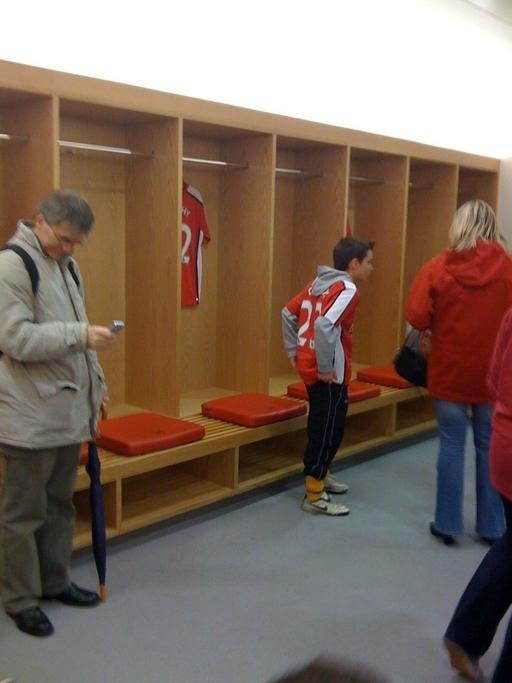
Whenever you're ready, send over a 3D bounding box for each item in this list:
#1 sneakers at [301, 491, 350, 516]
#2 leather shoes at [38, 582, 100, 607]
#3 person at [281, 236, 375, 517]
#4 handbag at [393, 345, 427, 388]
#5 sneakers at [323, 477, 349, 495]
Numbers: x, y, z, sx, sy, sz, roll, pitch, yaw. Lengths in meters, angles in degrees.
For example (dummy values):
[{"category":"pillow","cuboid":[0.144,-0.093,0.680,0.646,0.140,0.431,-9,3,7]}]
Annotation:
[{"category":"sneakers","cuboid":[0.401,0.940,2.870,0.268,0.152,0.114,3,5,3]},{"category":"leather shoes","cuboid":[-0.695,0.931,1.879,0.219,0.108,0.089,1,4,-8]},{"category":"person","cuboid":[0.405,0.192,2.821,0.486,1.241,0.659,1,1,-1]},{"category":"handbag","cuboid":[0.787,0.131,2.514,0.180,0.201,0.069,20,23,41]},{"category":"sneakers","cuboid":[0.499,0.912,3.159,0.197,0.111,0.073,2,4,15]}]
